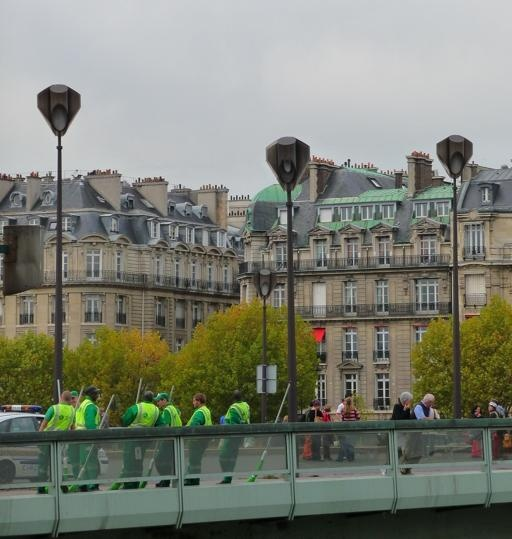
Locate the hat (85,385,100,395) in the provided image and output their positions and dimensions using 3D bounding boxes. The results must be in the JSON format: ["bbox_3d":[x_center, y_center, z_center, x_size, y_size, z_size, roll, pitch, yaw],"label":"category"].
[{"bbox_3d":[-2.434,1.809,26.405,0.185,0.186,0.158,-6,16,-29],"label":"hat"}]

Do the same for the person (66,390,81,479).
[{"bbox_3d":[-2.498,2.277,24.169,0.140,0.905,0.151,0,12,4],"label":"person"}]

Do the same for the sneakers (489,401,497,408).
[{"bbox_3d":[4.698,2.704,35.384,0.109,0.108,0.140,9,23,14],"label":"sneakers"}]
